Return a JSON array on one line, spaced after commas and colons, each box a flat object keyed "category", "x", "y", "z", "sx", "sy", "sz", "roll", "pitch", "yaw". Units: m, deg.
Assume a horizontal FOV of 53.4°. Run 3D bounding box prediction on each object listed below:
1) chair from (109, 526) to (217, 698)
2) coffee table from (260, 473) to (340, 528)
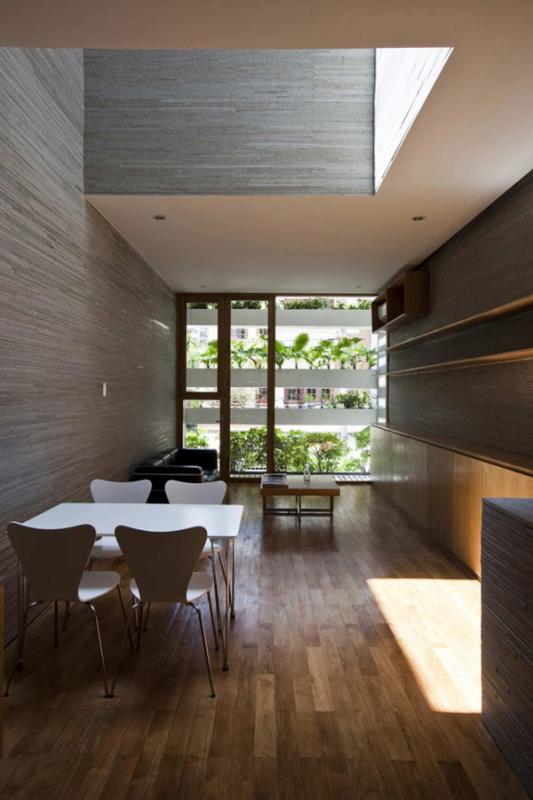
[{"category": "chair", "x": -0.450, "y": 0.925, "z": 2.488, "sx": 0.449, "sy": 0.897, "sz": 0.565, "roll": 0, "pitch": 8, "yaw": -7}, {"category": "coffee table", "x": 0.352, "y": 0.973, "z": 5.434, "sx": 0.550, "sy": 0.282, "sz": 0.592, "roll": 1, "pitch": 1, "yaw": 0}]
